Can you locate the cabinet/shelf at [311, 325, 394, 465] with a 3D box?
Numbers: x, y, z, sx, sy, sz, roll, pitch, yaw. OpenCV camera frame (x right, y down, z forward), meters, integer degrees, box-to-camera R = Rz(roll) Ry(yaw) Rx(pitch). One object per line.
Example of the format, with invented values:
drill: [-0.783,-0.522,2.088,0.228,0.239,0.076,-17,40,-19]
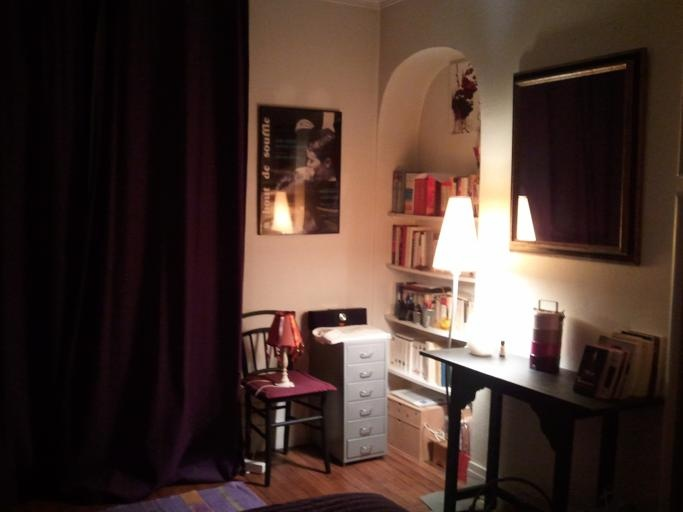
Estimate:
cabinet/shelf: [0.056,1.024,4.376,0.559,1.005,0.607,-1,4,-14]

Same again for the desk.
desk: [1.169,1.013,3.186,0.435,1.000,1.057,0,3,-23]

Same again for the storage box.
storage box: [0.561,1.357,4.445,0.273,0.428,0.482,-1,4,-36]

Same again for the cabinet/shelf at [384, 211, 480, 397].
cabinet/shelf: [0.696,0.364,4.158,0.380,1.358,1.331,2,2,-29]

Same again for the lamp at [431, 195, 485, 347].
lamp: [0.802,0.141,3.841,0.294,1.105,0.477,3,6,14]

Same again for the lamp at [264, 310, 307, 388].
lamp: [-0.422,0.658,4.036,0.256,0.517,0.365,-1,7,-22]
